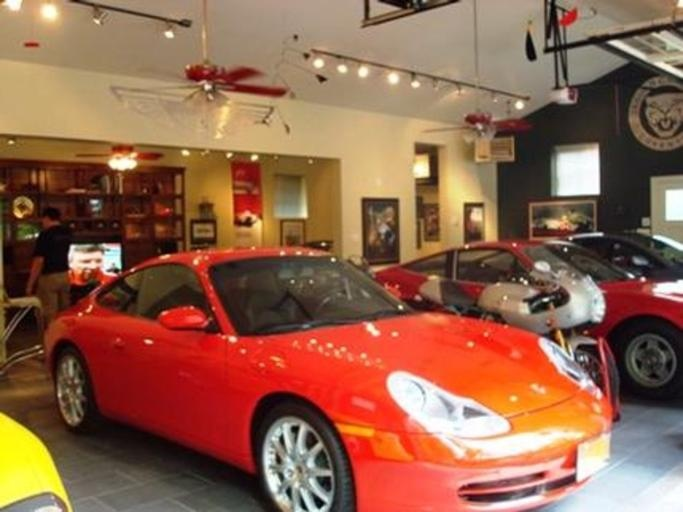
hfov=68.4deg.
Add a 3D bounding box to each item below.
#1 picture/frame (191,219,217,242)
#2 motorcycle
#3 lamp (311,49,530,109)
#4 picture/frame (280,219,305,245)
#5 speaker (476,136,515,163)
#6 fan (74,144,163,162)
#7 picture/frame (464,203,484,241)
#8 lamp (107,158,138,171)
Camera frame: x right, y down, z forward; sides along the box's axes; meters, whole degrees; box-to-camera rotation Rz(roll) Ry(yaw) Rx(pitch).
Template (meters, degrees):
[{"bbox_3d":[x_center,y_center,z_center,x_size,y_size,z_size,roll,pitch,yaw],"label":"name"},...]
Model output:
[{"bbox_3d":[-3.334,-0.623,12.136,0.567,0.528,0.055,0,-2,-30],"label":"picture/frame"},{"bbox_3d":[1.030,0.360,3.630,1.729,0.931,0.696,10,16,39],"label":"motorcycle"},{"bbox_3d":[1.616,-3.297,9.581,5.833,0.578,0.685,-10,15,-40],"label":"lamp"},{"bbox_3d":[-1.208,-0.572,12.414,0.659,0.754,0.050,0,-4,-1],"label":"picture/frame"},{"bbox_3d":[3.694,-2.625,12.239,1.171,0.597,0.516,-9,14,-37],"label":"speaker"},{"bbox_3d":[-4.234,-1.940,9.398,0.642,0.092,0.656,-5,-1,23],"label":"fan"},{"bbox_3d":[3.307,-0.822,12.498,0.980,0.969,0.008,-5,5,-35],"label":"picture/frame"},{"bbox_3d":[-4.103,-1.741,9.391,0.542,0.187,0.536,0,2,-31],"label":"lamp"}]
